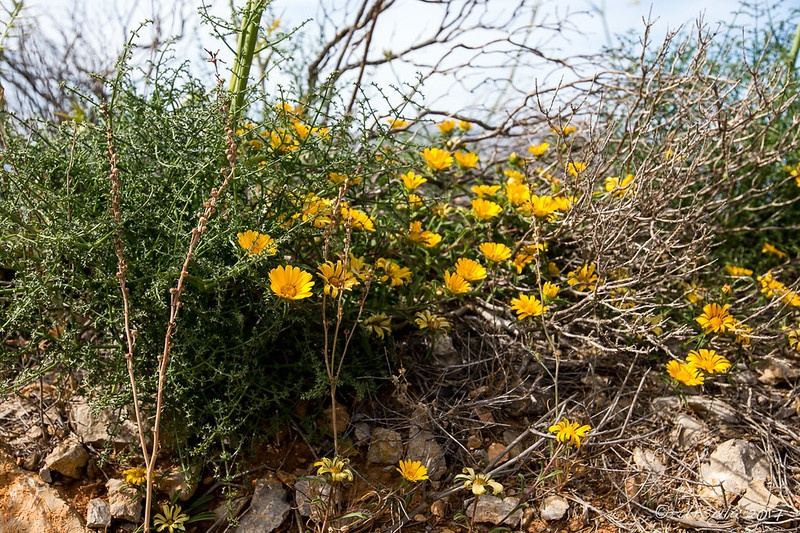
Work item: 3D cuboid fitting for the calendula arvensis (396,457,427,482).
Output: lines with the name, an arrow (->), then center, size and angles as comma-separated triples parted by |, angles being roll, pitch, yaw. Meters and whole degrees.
calendula arvensis -> 0.052, 0.943, 3.222 | 0.123, 0.055, 0.128 | 18, 43, 6

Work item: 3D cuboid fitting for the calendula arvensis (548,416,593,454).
calendula arvensis -> 0.779, 0.792, 3.200 | 0.178, 0.057, 0.175 | -22, 38, -39
